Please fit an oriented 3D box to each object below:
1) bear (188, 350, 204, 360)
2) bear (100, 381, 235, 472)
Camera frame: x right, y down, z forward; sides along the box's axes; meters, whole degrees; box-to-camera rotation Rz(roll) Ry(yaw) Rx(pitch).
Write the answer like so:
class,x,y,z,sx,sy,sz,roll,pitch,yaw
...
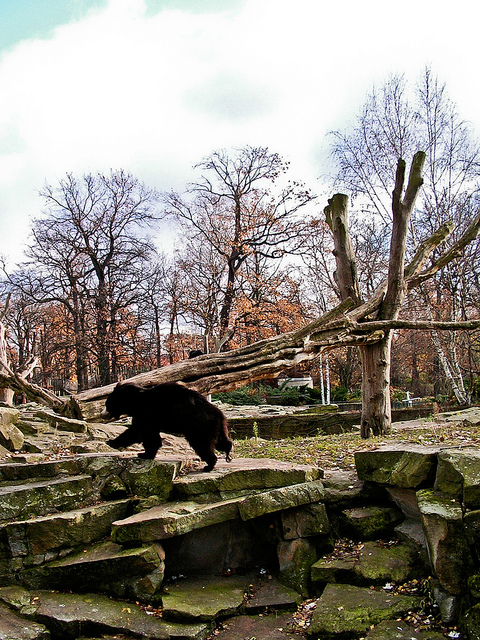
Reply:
class,x,y,z,sx,sy,sz,roll,pitch,yaw
bear,-0.531,0.398,6.618,0.167,0.091,0.198,-4,6,0
bear,-0.732,1.083,5.822,1.481,0.776,0.384,3,-4,16
